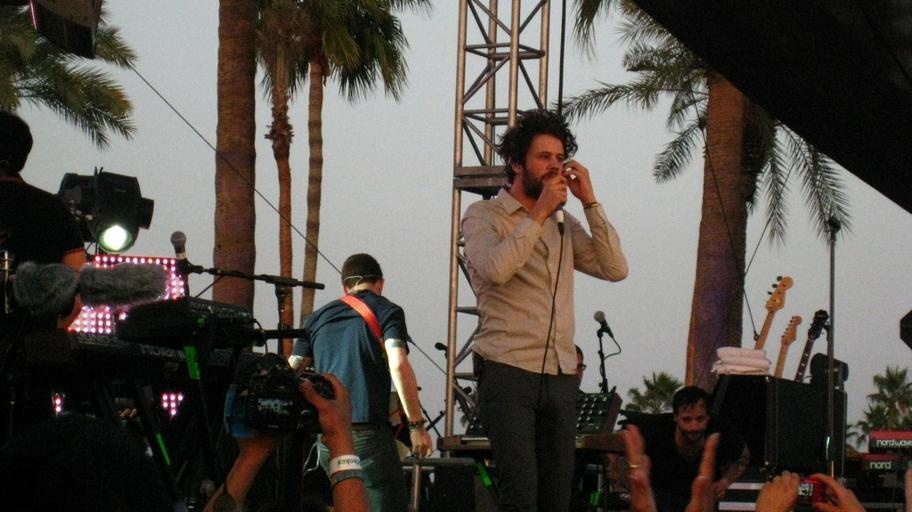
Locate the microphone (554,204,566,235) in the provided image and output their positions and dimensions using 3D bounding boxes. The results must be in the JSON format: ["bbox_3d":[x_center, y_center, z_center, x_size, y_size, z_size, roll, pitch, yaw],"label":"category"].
[{"bbox_3d":[1.290,-0.445,16.791,0.074,0.396,0.103,-5,-17,22],"label":"microphone"}]

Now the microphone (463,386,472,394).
[{"bbox_3d":[0.176,2.120,21.319,0.108,0.141,0.103,1,0,3],"label":"microphone"}]

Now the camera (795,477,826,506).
[{"bbox_3d":[4.053,2.692,15.401,0.352,0.375,0.216,4,-1,8],"label":"camera"}]
